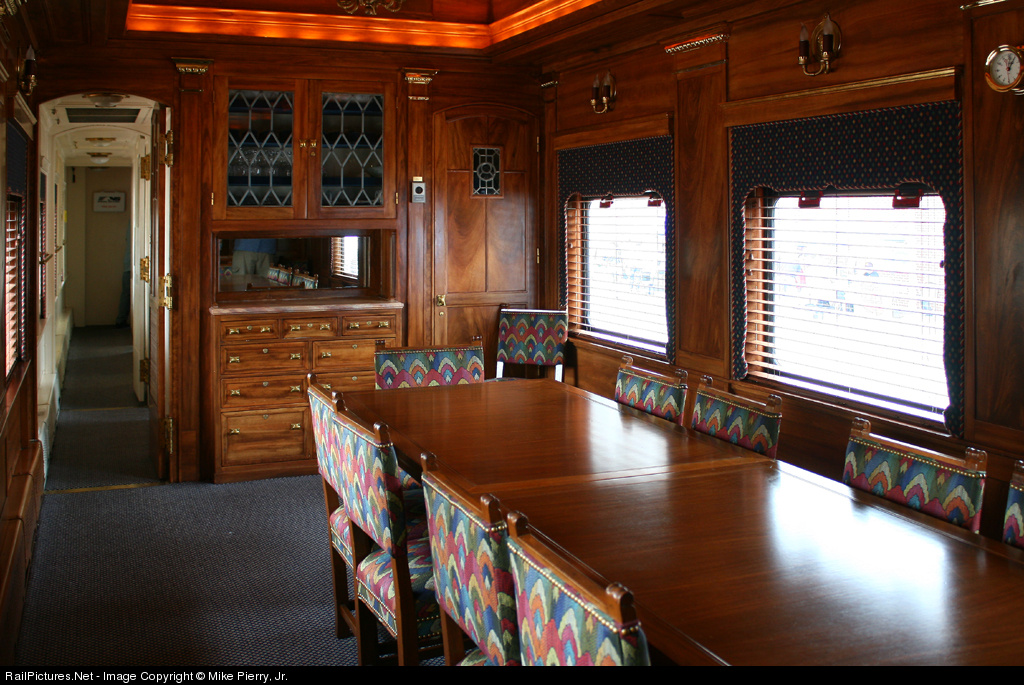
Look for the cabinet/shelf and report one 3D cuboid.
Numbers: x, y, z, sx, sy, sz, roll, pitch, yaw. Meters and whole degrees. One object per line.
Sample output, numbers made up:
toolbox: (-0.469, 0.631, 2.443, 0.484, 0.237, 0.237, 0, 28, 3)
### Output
cabinet/shelf: (-1.624, -0.592, 5.659, 1.481, 3.079, 0.854, -1, 5, -17)
